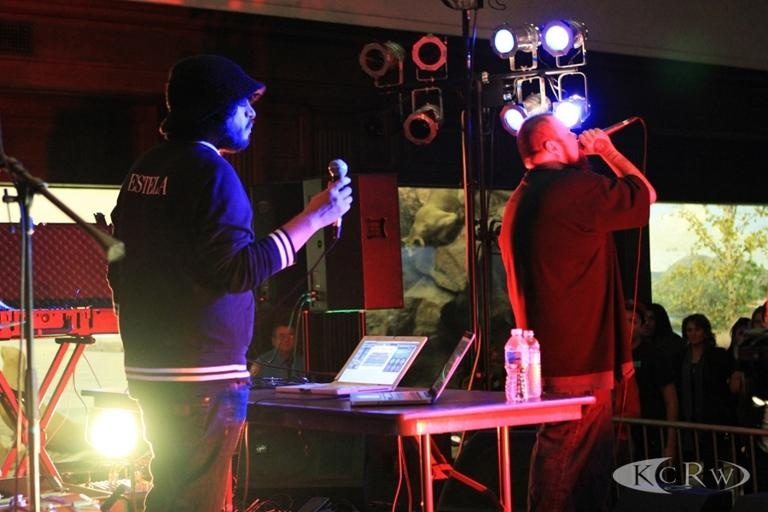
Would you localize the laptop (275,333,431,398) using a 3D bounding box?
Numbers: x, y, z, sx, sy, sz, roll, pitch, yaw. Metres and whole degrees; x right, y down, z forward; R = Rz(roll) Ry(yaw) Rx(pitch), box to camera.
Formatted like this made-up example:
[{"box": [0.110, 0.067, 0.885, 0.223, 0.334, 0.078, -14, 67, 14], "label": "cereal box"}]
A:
[{"box": [-0.158, 0.593, 4.415, 0.491, 0.209, 0.461, 7, -9, -40], "label": "laptop"}]

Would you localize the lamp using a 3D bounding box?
[{"box": [0.742, -1.424, 6.355, 1.670, 0.748, 0.468, 5, 17, 31], "label": "lamp"}]
